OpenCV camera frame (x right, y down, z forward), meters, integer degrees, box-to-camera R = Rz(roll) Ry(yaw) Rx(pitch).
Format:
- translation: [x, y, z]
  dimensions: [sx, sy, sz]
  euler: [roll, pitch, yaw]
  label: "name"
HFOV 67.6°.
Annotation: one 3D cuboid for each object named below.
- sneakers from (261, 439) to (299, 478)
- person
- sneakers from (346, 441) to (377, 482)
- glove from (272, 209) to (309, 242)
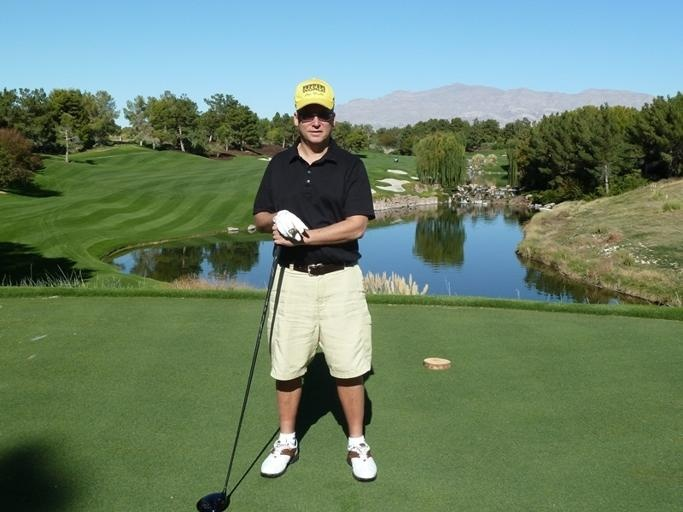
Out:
- translation: [-0.492, 1.597, 4.072]
  dimensions: [0.151, 0.163, 0.369]
  euler: [3, -3, 19]
  label: "sneakers"
- translation: [-0.276, 0.210, 4.293]
  dimensions: [1.203, 3.277, 1.099]
  euler: [2, 4, 19]
  label: "person"
- translation: [0.159, 1.606, 4.067]
  dimensions: [0.204, 0.185, 0.479]
  euler: [5, 8, -13]
  label: "sneakers"
- translation: [-0.397, -0.229, 4.003]
  dimensions: [0.175, 0.290, 0.076]
  euler: [-45, -5, 3]
  label: "glove"
